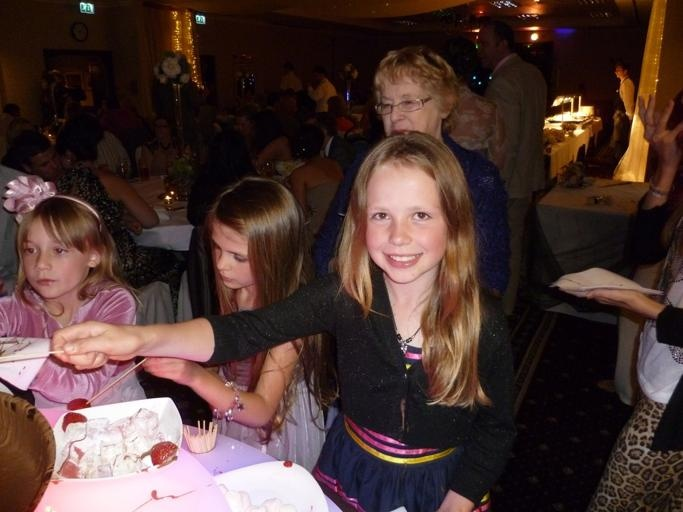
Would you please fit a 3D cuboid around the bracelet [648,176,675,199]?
[{"bbox_3d":[1.252,-0.258,1.987,0.063,0.033,0.076,18,6,-4],"label":"bracelet"}]

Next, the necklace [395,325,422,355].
[{"bbox_3d":[0.191,0.233,1.440,0.066,0.072,0.068,2,11,18],"label":"necklace"}]

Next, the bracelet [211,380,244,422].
[{"bbox_3d":[-0.378,0.497,1.649,0.054,0.159,0.113,3,13,20],"label":"bracelet"}]

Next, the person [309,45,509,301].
[{"bbox_3d":[0.281,-0.317,2.155,0.850,1.035,0.602,12,26,42],"label":"person"}]
